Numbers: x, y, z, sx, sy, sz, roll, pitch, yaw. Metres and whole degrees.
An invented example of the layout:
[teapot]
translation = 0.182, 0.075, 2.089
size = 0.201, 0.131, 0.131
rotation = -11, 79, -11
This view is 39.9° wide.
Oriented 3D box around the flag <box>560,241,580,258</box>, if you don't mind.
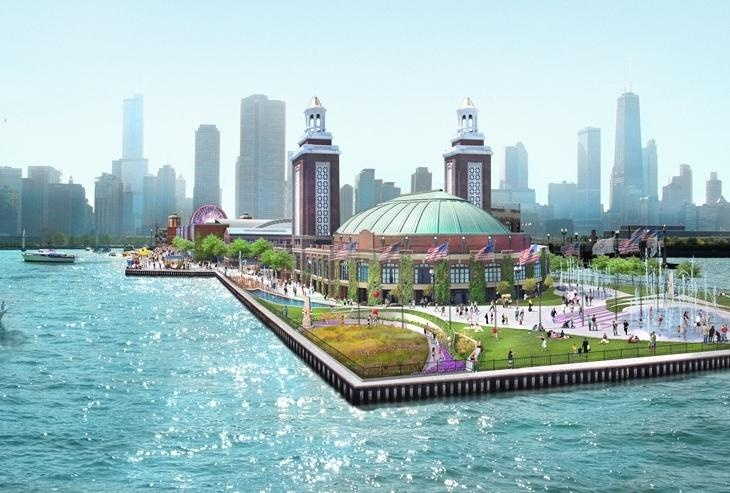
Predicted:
[flag]
translation = 49.623, 1.162, 241.503
size = 3.748, 3.344, 6.490
rotation = 2, 9, 13
